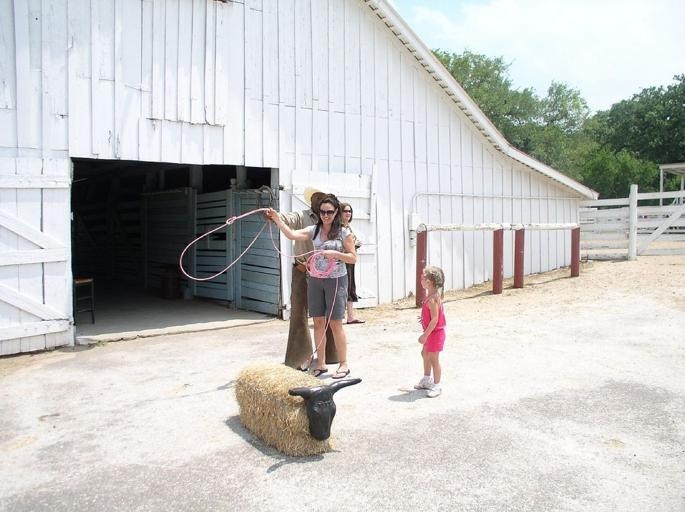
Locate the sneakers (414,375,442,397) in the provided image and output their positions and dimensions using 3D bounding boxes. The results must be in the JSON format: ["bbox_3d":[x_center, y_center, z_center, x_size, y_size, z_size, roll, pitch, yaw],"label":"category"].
[{"bbox_3d":[0.895,1.405,5.873,0.367,0.176,0.121,16,-15,-43],"label":"sneakers"}]

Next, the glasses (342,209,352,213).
[{"bbox_3d":[0.057,-0.611,7.550,0.077,0.027,0.081,0,-3,-32],"label":"glasses"}]

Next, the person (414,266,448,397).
[{"bbox_3d":[0.936,0.797,5.925,0.310,1.325,0.488,0,8,8],"label":"person"}]

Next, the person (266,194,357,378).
[{"bbox_3d":[-0.250,0.364,6.338,0.822,2.108,0.737,-1,8,5],"label":"person"}]

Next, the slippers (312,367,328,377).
[{"bbox_3d":[-0.247,1.367,6.480,0.193,0.063,0.079,-4,-3,-22],"label":"slippers"}]

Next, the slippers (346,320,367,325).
[{"bbox_3d":[0.255,1.110,9.390,0.310,0.105,0.121,-1,-2,-3],"label":"slippers"}]
